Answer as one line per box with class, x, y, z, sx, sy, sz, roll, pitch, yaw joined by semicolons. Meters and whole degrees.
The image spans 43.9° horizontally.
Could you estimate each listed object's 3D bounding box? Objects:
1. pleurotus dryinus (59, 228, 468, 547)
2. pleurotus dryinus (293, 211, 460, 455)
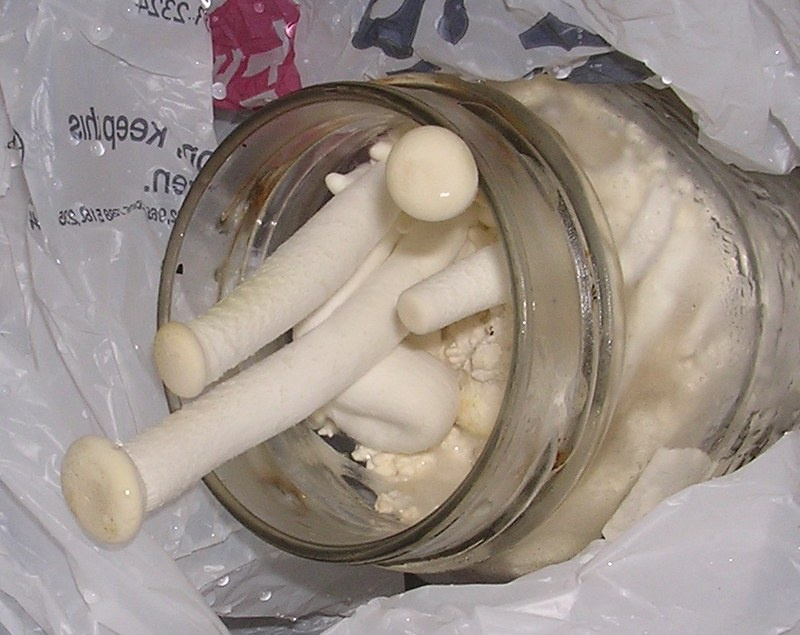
pleurotus dryinus;-0.022;0.010;0.737;0.418;0.111;0.081;-28;77;-36
pleurotus dryinus;0.006;0.018;0.730;0.115;0.180;0.049;26;2;7
